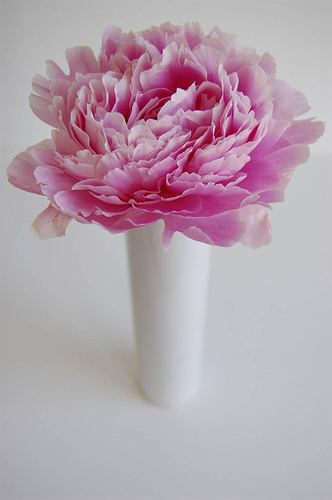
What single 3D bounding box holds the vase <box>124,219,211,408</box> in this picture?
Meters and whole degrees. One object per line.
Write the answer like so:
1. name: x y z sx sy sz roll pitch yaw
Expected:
1. vase: -0.004 0.098 0.664 0.124 0.105 0.344 -6 40 2
